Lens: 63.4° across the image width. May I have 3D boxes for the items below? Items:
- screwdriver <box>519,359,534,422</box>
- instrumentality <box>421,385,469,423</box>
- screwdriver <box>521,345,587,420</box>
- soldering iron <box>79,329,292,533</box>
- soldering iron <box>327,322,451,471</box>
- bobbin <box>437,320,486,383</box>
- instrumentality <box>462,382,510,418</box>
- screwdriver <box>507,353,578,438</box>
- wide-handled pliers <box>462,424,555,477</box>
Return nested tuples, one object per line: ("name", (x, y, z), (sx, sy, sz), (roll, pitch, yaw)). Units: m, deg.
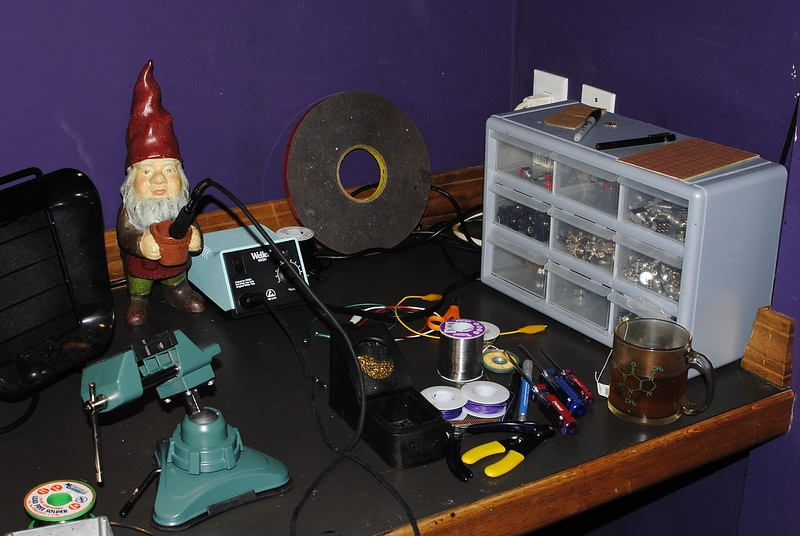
("screwdriver", (0.257, 0.258, 1.331), (0.023, 0.024, 0.180), (16, 44, 3))
("instrumentality", (0.095, 0.264, 1.295), (0.063, 0.016, 0.064), (-5, 21, -20))
("screwdriver", (0.325, 0.242, 1.350), (0.038, 0.029, 0.171), (0, 30, -22))
("soldering iron", (-0.372, 0.255, 1.270), (0.392, 0.317, 0.381), (-10, 24, -31))
("soldering iron", (-0.027, 0.233, 1.257), (0.146, 0.174, 0.290), (-22, 32, -32))
("bobbin", (0.130, 0.179, 1.429), (0.110, 0.122, 0.115), (11, 17, 36))
("instrumentality", (0.174, 0.262, 1.313), (0.098, 0.036, 0.090), (5, 29, 16))
("screwdriver", (0.274, 0.257, 1.326), (0.158, 0.107, 0.147), (3, 25, 4))
("wide-handled pliers", (0.210, 0.336, 1.212), (0.197, 0.026, 0.072), (-18, 31, -26))
